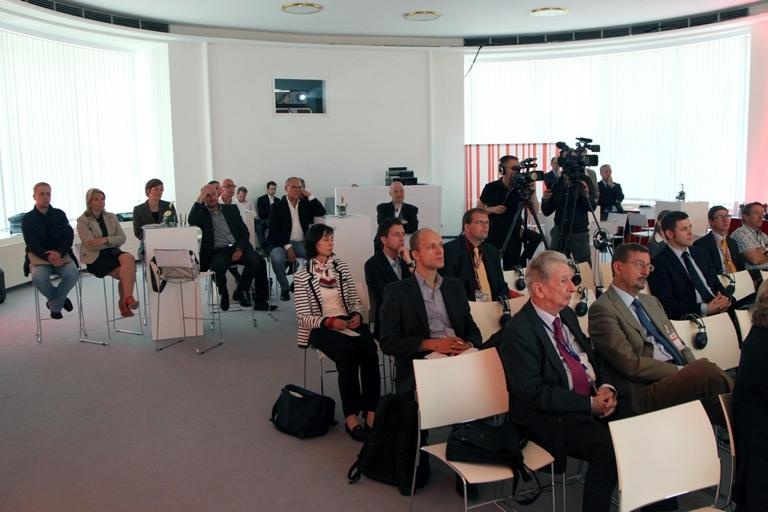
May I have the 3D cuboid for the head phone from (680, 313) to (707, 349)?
[{"bbox_3d":[2.466,0.605,4.520,0.090,0.244,0.229,-6,5,-2],"label":"head phone"}]

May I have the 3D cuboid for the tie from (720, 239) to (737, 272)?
[{"bbox_3d":[3.797,0.002,6.265,0.075,0.332,0.228,-13,-7,39],"label":"tie"}]

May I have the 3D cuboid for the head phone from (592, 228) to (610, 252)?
[{"bbox_3d":[3.236,-0.187,8.345,0.133,0.298,0.379,-2,-25,2],"label":"head phone"}]

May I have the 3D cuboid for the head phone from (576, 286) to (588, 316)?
[{"bbox_3d":[1.683,0.388,4.825,0.080,0.208,0.213,4,-4,5],"label":"head phone"}]

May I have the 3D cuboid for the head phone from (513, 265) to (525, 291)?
[{"bbox_3d":[1.322,0.219,5.551,0.081,0.210,0.209,-1,-5,-10],"label":"head phone"}]

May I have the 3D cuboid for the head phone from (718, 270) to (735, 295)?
[{"bbox_3d":[3.349,0.267,5.546,0.084,0.247,0.195,-1,4,22],"label":"head phone"}]

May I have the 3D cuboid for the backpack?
[{"bbox_3d":[0.086,1.389,4.224,0.597,0.704,0.372,12,18,34],"label":"backpack"}]

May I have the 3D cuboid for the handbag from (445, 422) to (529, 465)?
[{"bbox_3d":[0.667,1.209,3.710,0.304,0.125,0.319,0,8,10],"label":"handbag"}]

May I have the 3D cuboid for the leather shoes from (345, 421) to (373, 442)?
[{"bbox_3d":[-0.213,1.493,4.859,0.124,0.101,0.268,-2,0,-33],"label":"leather shoes"}]

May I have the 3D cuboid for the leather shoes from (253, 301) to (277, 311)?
[{"bbox_3d":[-1.698,0.697,8.160,0.359,0.160,0.132,-1,2,-5],"label":"leather shoes"}]

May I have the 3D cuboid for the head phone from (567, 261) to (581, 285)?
[{"bbox_3d":[1.697,0.155,5.061,0.078,0.210,0.220,-14,0,-5],"label":"head phone"}]

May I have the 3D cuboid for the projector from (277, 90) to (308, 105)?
[{"bbox_3d":[-1.894,-3.244,11.661,0.679,0.318,0.098,-5,10,-13],"label":"projector"}]

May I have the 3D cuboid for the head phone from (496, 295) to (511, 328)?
[{"bbox_3d":[1.013,0.474,4.806,0.089,0.234,0.233,-2,4,-10],"label":"head phone"}]

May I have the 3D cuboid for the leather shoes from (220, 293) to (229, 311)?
[{"bbox_3d":[-2.260,0.645,8.036,0.190,0.237,0.574,0,-5,-14],"label":"leather shoes"}]

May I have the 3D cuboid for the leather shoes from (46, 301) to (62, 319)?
[{"bbox_3d":[-4.228,0.678,7.288,0.152,0.206,0.454,-2,4,-40],"label":"leather shoes"}]
